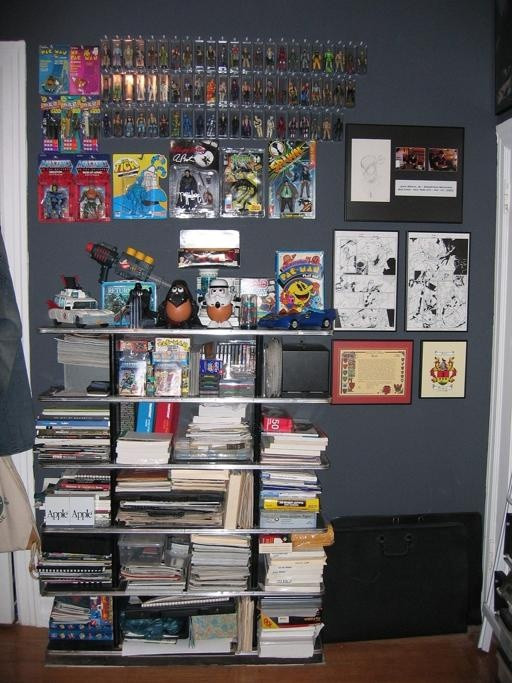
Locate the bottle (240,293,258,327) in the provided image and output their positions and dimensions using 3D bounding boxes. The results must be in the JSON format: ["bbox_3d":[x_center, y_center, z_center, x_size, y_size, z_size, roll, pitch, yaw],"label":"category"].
[{"bbox_3d":[-0.030,-0.136,2.889,0.080,0.141,0.046,2,1,6],"label":"bottle"}]

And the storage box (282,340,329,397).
[{"bbox_3d":[0.208,0.114,2.926,0.205,0.216,0.207,0,5,3],"label":"storage box"}]

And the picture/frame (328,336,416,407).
[{"bbox_3d":[0.536,0.132,3.177,0.337,0.284,0.023,0,5,-3],"label":"picture/frame"}]

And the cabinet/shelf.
[{"bbox_3d":[-0.320,0.371,2.870,1.172,1.305,0.421,-2,36,-9],"label":"cabinet/shelf"}]
